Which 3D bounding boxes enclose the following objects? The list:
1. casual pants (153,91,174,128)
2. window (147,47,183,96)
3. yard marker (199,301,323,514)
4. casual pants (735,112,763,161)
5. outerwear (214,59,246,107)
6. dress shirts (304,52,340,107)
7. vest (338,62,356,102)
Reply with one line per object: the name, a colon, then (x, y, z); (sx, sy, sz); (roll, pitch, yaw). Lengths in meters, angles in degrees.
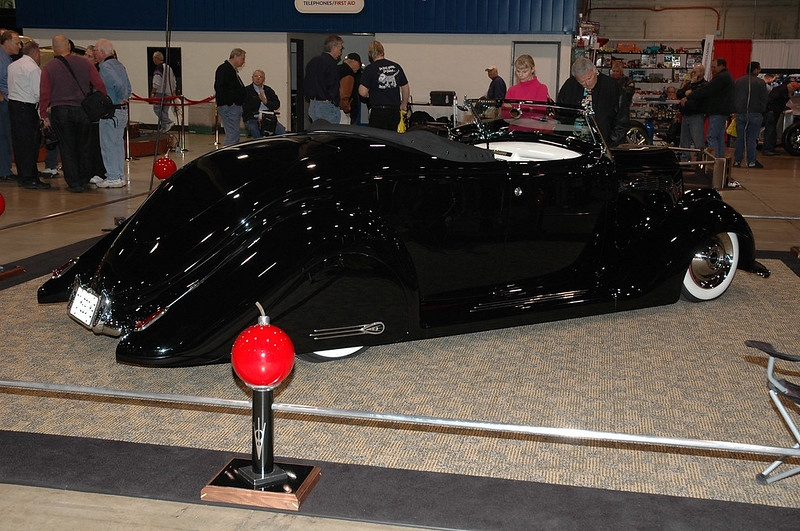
casual pants: (-4.888, -3.289, 11.604); (0.321, 0.862, 0.313); (15, 17, 25)
window: (-6.891, -6.069, 16.538); (0.902, 0.078, 1.287); (-4, 61, -16)
yard marker: (-0.560, 0.586, 2.363); (0.547, 0.712, 0.482); (1, -2, -39)
casual pants: (7.391, -2.759, 11.893); (0.368, 1.111, 0.511); (-15, 18, -32)
outerwear: (-2.816, -2.993, 9.281); (0.412, 0.668, 0.713); (8, 8, 5)
dress shirts: (-1.288, -3.141, 9.274); (0.717, 0.784, 0.422); (18, 20, 28)
vest: (-1.086, -3.838, 11.210); (0.254, 0.629, 0.468); (2, 50, -12)
